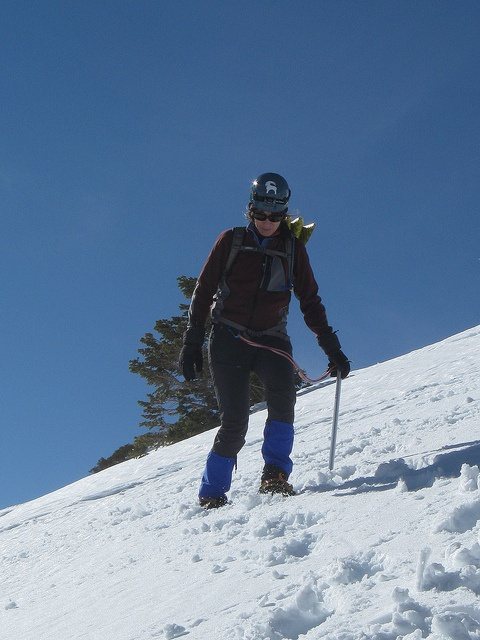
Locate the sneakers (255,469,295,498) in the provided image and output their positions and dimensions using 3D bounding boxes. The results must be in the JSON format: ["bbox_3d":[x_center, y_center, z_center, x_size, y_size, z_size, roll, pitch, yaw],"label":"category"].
[{"bbox_3d":[0.215,0.965,6.219,0.271,0.253,0.098,7,-58,3],"label":"sneakers"}]

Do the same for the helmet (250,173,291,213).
[{"bbox_3d":[0.181,-0.775,6.423,0.242,0.261,0.155,-3,-14,1],"label":"helmet"}]

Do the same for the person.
[{"bbox_3d":[0.121,0.124,6.460,1.024,1.981,0.689,-4,-15,4],"label":"person"}]
